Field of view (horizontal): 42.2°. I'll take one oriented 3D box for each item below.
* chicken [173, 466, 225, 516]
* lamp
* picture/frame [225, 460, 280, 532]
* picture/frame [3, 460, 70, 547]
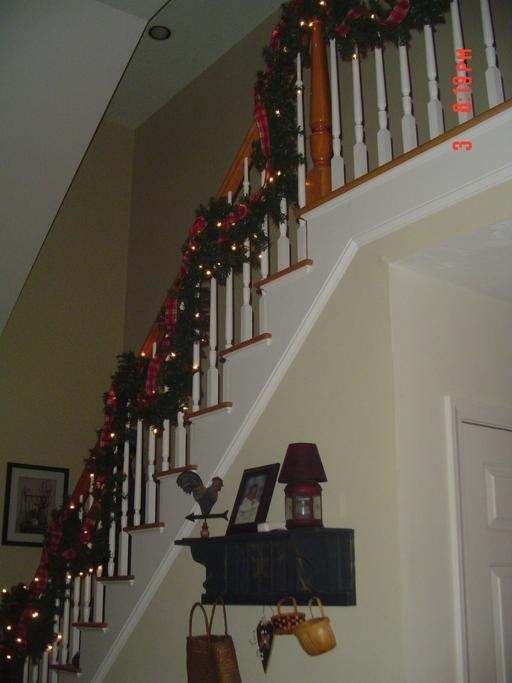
[{"bbox_3d":[-0.242,0.641,2.786,0.236,0.198,0.096,-17,-26,42],"label":"chicken"},{"bbox_3d":[0.161,0.499,2.281,0.162,0.278,0.215,1,-19,3],"label":"lamp"},{"bbox_3d":[-0.004,0.594,2.537,0.029,0.303,0.253,32,-34,-25],"label":"picture/frame"},{"bbox_3d":[-1.525,1.115,4.523,0.445,0.633,0.026,20,-34,-39],"label":"picture/frame"}]
